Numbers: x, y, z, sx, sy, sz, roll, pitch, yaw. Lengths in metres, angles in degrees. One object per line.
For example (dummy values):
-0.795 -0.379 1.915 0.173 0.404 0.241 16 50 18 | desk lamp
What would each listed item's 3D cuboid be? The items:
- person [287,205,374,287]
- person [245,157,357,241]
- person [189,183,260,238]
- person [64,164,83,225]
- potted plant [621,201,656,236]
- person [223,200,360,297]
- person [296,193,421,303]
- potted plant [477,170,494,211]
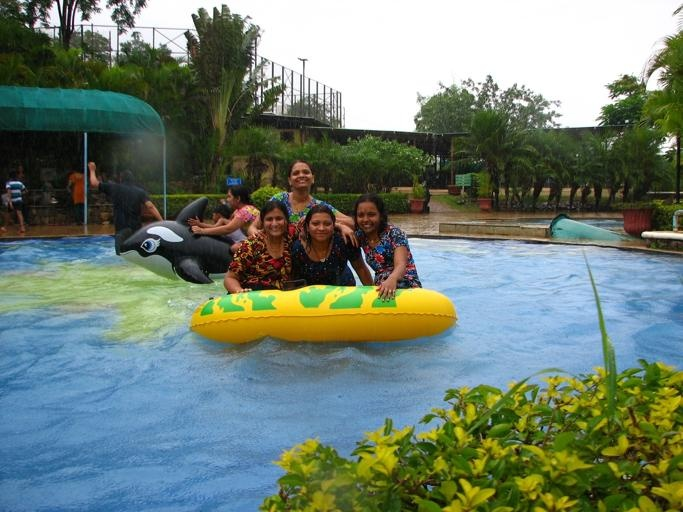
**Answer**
-0.132 -0.089 5.852 0.831 0.932 0.681 -2 9 -16 | person
-0.494 -0.561 6.433 1.375 1.225 0.759 0 -6 -13 | person
-1.795 -0.692 8.353 0.980 0.780 0.748 0 7 4 | person
-8.730 -1.914 18.273 0.371 1.654 2.200 -5 10 -29 | person
7.785 -0.891 14.619 0.716 0.804 0.494 6 11 32 | potted plant
-0.540 -0.130 6.255 1.243 1.587 0.920 -6 20 -27 | person
0.138 -0.003 5.879 1.486 1.219 1.007 -4 12 1 | person
7.257 -3.287 27.978 0.723 1.940 1.091 3 9 15 | potted plant
